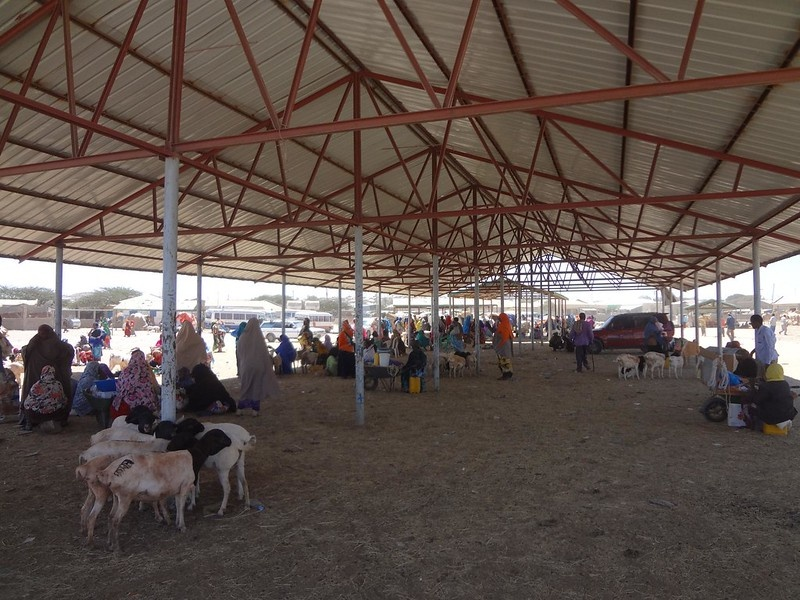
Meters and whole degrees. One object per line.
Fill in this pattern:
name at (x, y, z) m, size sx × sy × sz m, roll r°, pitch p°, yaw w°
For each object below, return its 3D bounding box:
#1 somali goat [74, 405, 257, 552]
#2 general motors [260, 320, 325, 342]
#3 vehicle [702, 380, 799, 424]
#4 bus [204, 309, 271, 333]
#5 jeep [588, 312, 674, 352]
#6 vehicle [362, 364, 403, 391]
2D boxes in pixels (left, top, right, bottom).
somali goat at (-2.986, 2.257, 7.443) m, size 1.982 × 1.221 × 0.825 m, roll -5°, pitch 8°, yaw -34°
general motors at (-6.559, 1.760, 34.476) m, size 3.095 × 1.095 × 1.631 m, roll -3°, pitch 2°, yaw 3°
vehicle at (6.646, 1.899, 11.014) m, size 0.773 × 1.075 × 1.417 m, roll -4°, pitch 8°, yaw -32°
bus at (-10.917, 1.247, 37.980) m, size 3.927 × 1.393 × 1.478 m, roll -1°, pitch 6°, yaw -5°
jeep at (9.816, 1.430, 24.671) m, size 3.095 × 1.504 × 1.761 m, roll 1°, pitch 1°, yaw 14°
vehicle at (-0.511, 2.055, 15.610) m, size 0.590 × 0.517 × 0.996 m, roll -4°, pitch -10°, yaw 18°
